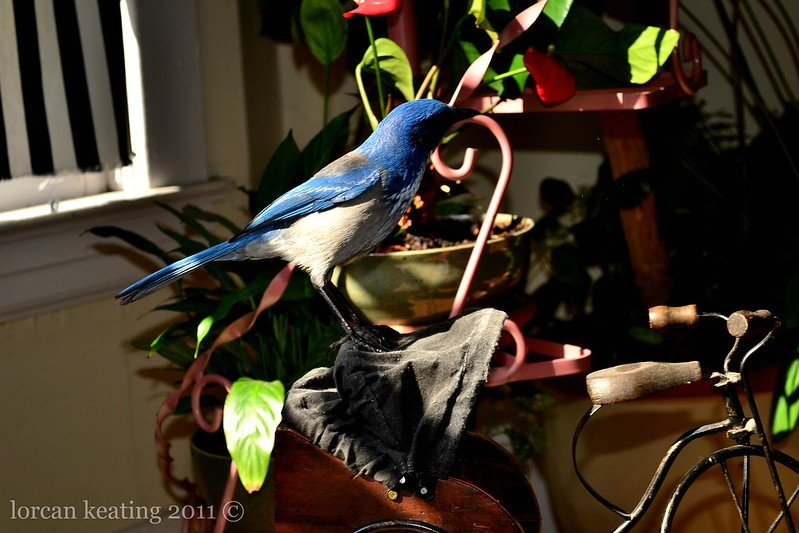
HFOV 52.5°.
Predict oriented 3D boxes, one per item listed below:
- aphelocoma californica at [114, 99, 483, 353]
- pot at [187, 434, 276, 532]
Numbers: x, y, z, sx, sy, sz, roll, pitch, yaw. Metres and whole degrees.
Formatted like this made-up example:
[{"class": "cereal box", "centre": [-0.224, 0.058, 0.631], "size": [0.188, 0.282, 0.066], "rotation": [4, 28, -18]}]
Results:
[{"class": "aphelocoma californica", "centre": [-0.267, -0.108, 2.035], "size": [0.774, 0.629, 0.271], "rotation": [0, 2, -1]}, {"class": "pot", "centre": [-0.441, 0.579, 2.285], "size": [0.253, 0.214, 0.243], "rotation": [2, 3, 0]}]
